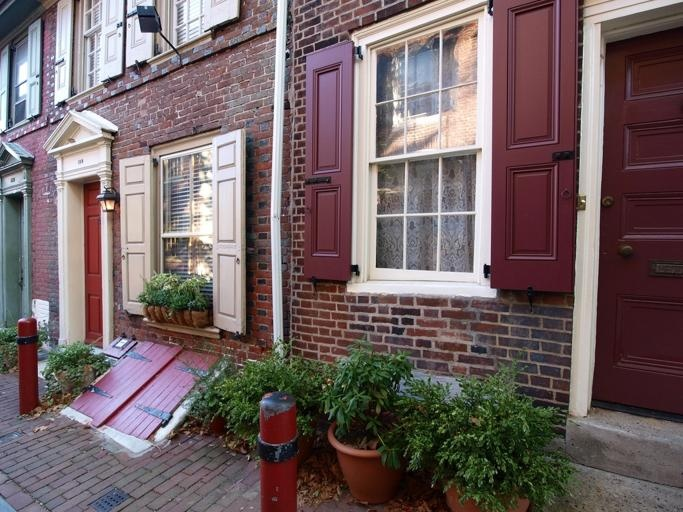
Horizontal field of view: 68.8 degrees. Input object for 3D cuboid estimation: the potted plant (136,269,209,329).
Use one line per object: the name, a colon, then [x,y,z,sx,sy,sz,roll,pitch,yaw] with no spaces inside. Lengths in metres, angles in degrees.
potted plant: [-2.037,0.514,6.095,0.859,0.647,0.592,3,6,34]

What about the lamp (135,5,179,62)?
lamp: [-2.338,-2.882,6.413,0.492,0.868,0.534,-1,1,-20]

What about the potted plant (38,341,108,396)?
potted plant: [-3.332,1.351,6.249,0.589,0.539,0.629,8,7,24]
